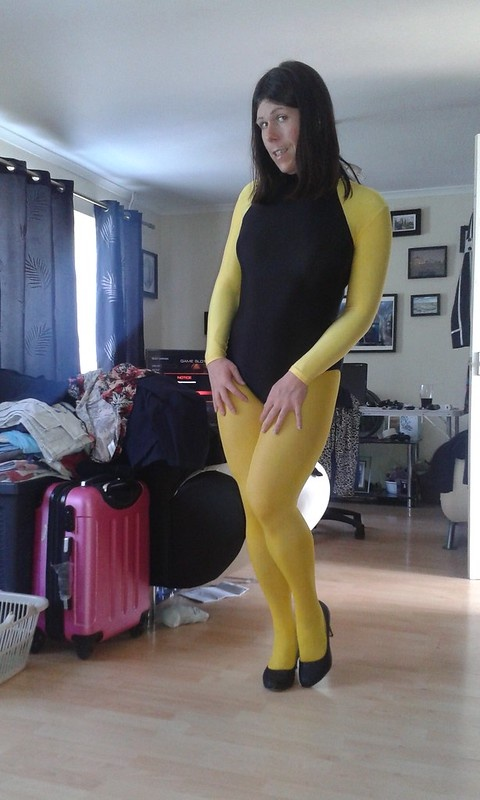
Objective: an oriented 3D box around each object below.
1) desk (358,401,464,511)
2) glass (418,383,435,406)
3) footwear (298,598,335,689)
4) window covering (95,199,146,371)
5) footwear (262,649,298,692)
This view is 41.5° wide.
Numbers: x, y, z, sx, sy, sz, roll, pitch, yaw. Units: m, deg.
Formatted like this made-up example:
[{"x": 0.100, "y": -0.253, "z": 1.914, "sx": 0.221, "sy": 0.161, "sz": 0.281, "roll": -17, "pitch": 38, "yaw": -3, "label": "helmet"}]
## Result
[{"x": 1.167, "y": 0.412, "z": 4.412, "sx": 0.720, "sy": 0.789, "sz": 0.836, "roll": -1, "pitch": 3, "yaw": 13, "label": "desk"}, {"x": 1.229, "y": -0.012, "z": 4.215, "sx": 0.066, "sy": 0.147, "sz": 0.184, "roll": -1, "pitch": -2, "yaw": 14, "label": "glass"}, {"x": 0.177, "y": 0.608, "z": 1.561, "sx": 0.087, "sy": 0.078, "sz": 0.255, "roll": -22, "pitch": 13, "yaw": 13, "label": "footwear"}, {"x": -0.893, "y": -0.831, "z": 4.750, "sx": 0.167, "sy": 1.234, "sz": 0.547, "roll": -1, "pitch": -2, "yaw": 25, "label": "window covering"}, {"x": 0.098, "y": 0.647, "z": 1.504, "sx": 0.089, "sy": 0.060, "sz": 0.218, "roll": -3, "pitch": -3, "yaw": 9, "label": "footwear"}]
